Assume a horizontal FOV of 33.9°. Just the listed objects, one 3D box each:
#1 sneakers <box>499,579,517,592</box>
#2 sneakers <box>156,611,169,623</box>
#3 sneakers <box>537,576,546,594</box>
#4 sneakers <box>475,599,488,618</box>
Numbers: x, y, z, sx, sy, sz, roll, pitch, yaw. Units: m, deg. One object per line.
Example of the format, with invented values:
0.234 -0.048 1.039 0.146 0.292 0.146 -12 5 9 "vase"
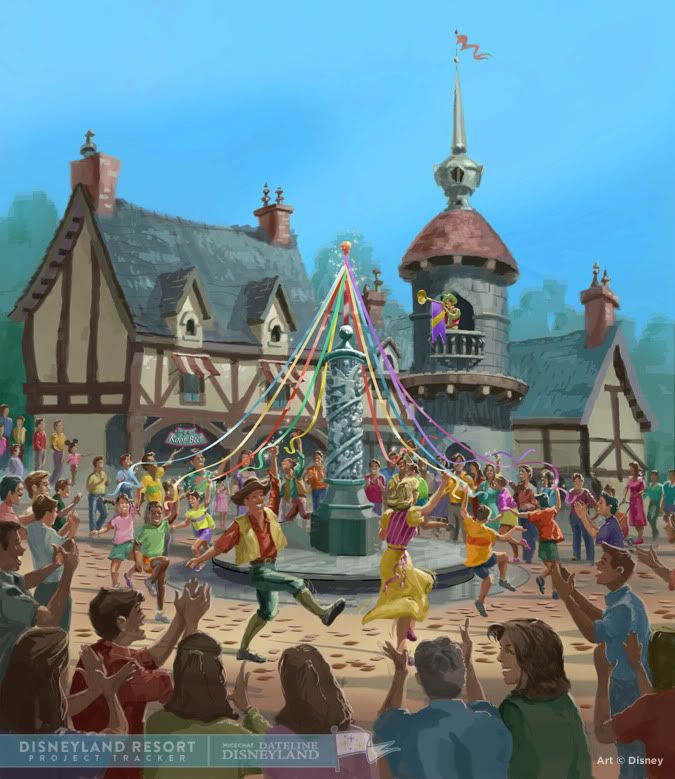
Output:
1.767 2.032 11.509 0.076 0.097 0.225 5 -9 -11 "sneakers"
-1.498 1.990 9.661 0.158 0.103 0.057 6 -4 -22 "sneakers"
2.113 1.998 11.434 0.079 0.220 0.096 -5 -6 29 "sneakers"
1.351 2.050 10.336 0.079 0.201 0.067 -30 -16 12 "sneakers"
